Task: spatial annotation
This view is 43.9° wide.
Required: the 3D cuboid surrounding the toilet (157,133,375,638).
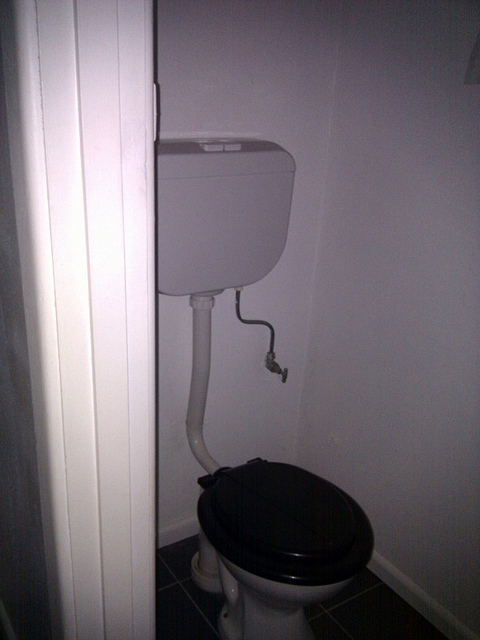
[{"bbox_3d":[0.059,0.210,1.282,0.475,1.142,0.410,6,13,10],"label":"toilet"}]
